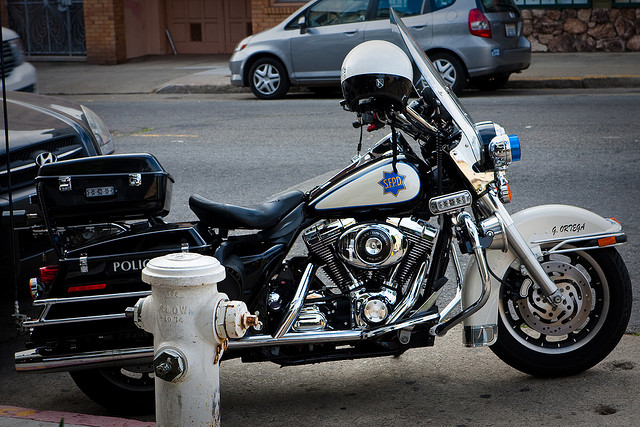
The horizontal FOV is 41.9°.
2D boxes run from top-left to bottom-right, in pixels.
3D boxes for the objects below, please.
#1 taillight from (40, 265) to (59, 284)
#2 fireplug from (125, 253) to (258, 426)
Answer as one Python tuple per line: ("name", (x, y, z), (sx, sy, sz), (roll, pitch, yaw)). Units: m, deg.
("taillight", (-1.865, 0.425, 5.765), (0.140, 0.109, 0.059), (1, -8, 35))
("fireplug", (-0.747, 0.750, 4.979), (0.695, 0.990, 0.392), (-7, 18, -12))
